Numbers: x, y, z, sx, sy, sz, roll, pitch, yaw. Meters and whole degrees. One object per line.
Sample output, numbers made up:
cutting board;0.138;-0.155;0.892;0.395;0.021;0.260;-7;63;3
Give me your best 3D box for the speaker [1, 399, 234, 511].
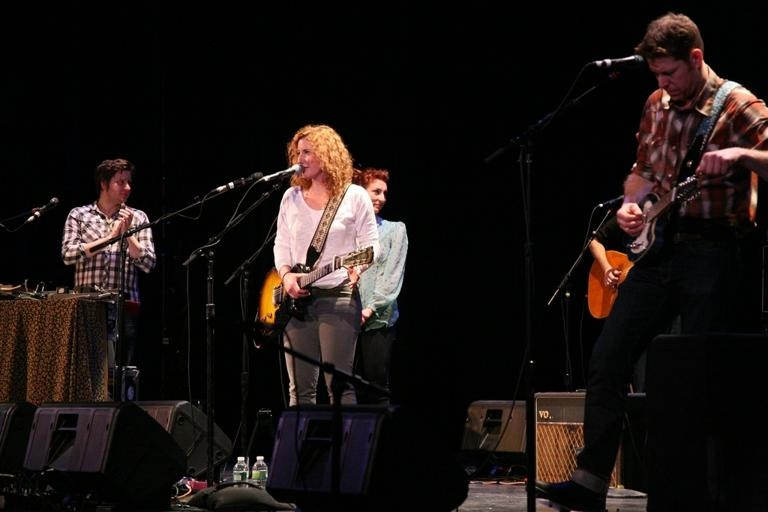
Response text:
speaker;-1.839;1.252;5.140;1.094;0.675;0.527;1;-15;13
